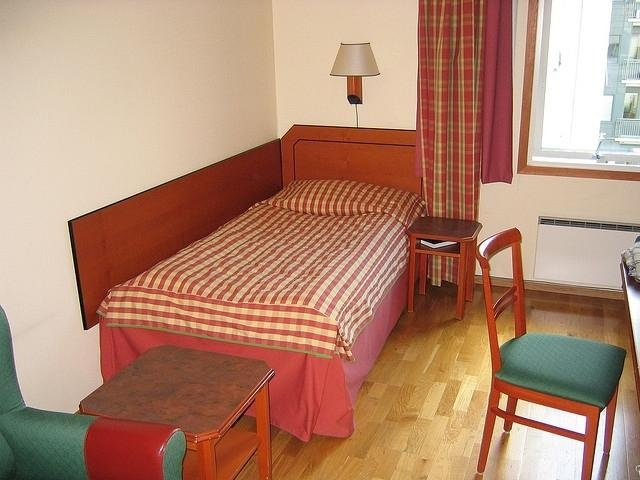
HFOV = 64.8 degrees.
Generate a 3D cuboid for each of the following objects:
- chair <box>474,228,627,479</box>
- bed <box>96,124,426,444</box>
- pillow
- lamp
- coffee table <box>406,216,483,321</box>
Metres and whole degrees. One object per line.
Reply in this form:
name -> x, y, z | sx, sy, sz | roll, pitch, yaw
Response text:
chair -> 1.123, 0.615, 2.555 | 0.732, 1.162, 0.588 | 10, 24, 27
bed -> -0.114, 0.244, 3.869 | 1.580, 1.667, 2.500 | 8, 23, 22
pillow -> 0.238, -0.345, 4.284 | 0.957, 0.232, 0.608 | 9, 26, 18
lamp -> 0.288, -1.410, 4.294 | 0.393, 0.511, 0.402 | -8, 19, -21
coffee table -> 1.048, 0.156, 4.420 | 0.653, 1.061, 0.775 | 5, 17, 17
